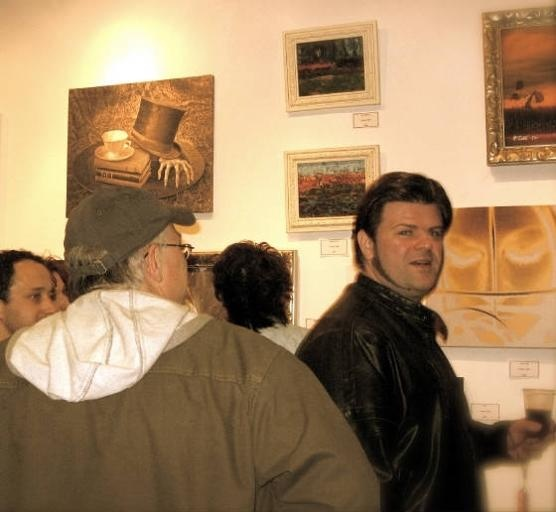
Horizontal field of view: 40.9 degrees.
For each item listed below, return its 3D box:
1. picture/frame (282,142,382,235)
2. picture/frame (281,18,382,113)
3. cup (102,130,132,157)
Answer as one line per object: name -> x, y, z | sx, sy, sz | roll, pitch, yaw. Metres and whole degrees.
picture/frame -> 0.267, -0.322, 3.547 | 0.538, 0.441, 0.044 | -1, -2, 19
picture/frame -> 0.281, -0.940, 3.678 | 0.514, 0.407, 0.045 | -1, 5, 18
cup -> -0.841, -0.598, 3.993 | 0.169, 0.115, 0.120 | -22, 42, -34
